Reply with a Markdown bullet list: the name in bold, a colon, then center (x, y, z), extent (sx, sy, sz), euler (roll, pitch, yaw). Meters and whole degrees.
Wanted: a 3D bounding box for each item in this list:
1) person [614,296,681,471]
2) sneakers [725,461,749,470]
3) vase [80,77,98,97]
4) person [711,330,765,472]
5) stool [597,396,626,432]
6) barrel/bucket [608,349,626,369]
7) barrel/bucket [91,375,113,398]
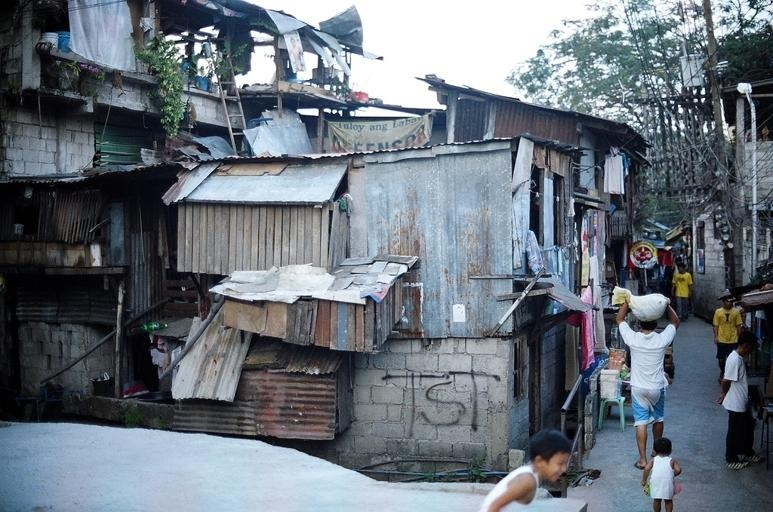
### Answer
- **person**: center (5.644, 2.780, 20.433), extent (1.177, 3.720, 1.205), euler (-2, -5, 26)
- **sneakers**: center (7.665, 4.595, 20.790), extent (0.302, 0.101, 0.192), euler (-4, 1, 8)
- **vase**: center (-8.717, -4.936, 27.888), extent (0.314, 0.628, 0.591), euler (0, 5, 14)
- **person**: center (7.795, 3.183, 20.993), extent (0.773, 3.002, 0.462), euler (2, -5, -20)
- **stool**: center (5.585, 3.875, 23.332), extent (0.754, 0.740, 0.781), euler (-2, -4, 33)
- **barrel/bucket**: center (6.046, 2.711, 24.919), extent (0.465, 0.643, 0.440), euler (4, -7, 0)
- **barrel/bucket**: center (-7.870, 3.693, 26.610), extent (0.512, 0.404, 0.496), euler (3, -3, 0)
